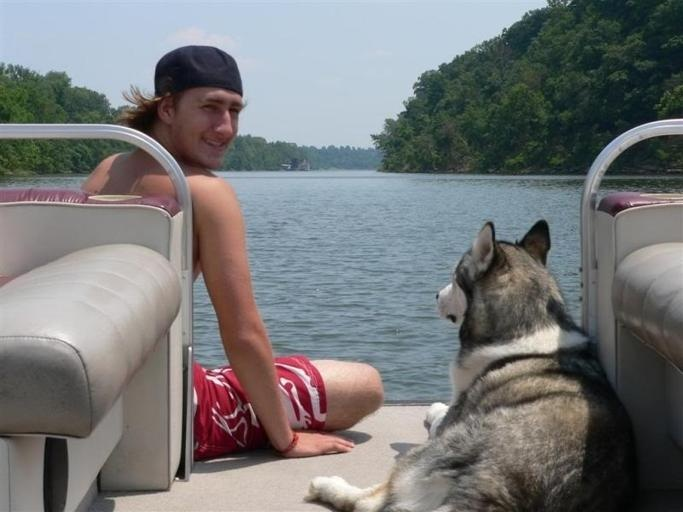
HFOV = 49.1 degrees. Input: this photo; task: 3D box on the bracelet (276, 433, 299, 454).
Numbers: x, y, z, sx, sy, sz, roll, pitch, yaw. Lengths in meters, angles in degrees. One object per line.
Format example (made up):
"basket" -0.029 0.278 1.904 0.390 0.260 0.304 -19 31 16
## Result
"bracelet" -0.266 0.919 3.672 0.101 0.026 0.080 -21 20 38
